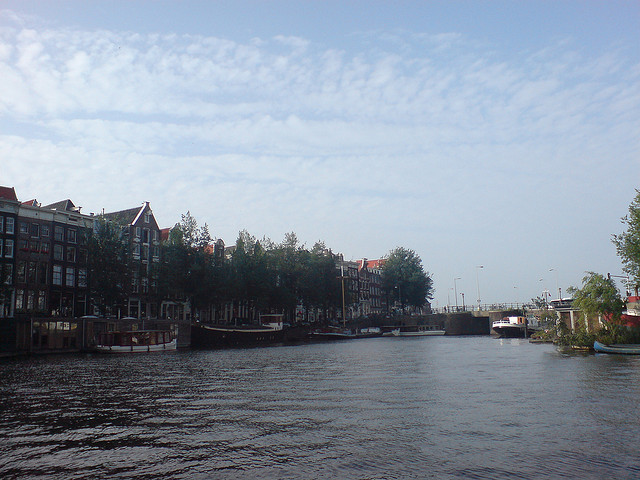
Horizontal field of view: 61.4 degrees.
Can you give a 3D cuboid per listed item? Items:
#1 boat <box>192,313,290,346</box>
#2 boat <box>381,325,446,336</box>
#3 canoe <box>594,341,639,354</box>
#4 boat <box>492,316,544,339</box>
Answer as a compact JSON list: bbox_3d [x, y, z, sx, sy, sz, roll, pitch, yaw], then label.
[{"bbox_3d":[-12.000,13.462,81.471,16.211,4.717,4.247,6,-16,-32],"label":"boat"},{"bbox_3d":[21.094,20.533,122.066,13.454,2.806,6.884,1,-13,-9],"label":"boat"},{"bbox_3d":[24.181,8.800,43.698,2.568,0.505,0.657,0,-5,39],"label":"canoe"},{"bbox_3d":[34.371,15.262,94.216,10.401,3.314,3.054,12,-17,-41],"label":"boat"}]
